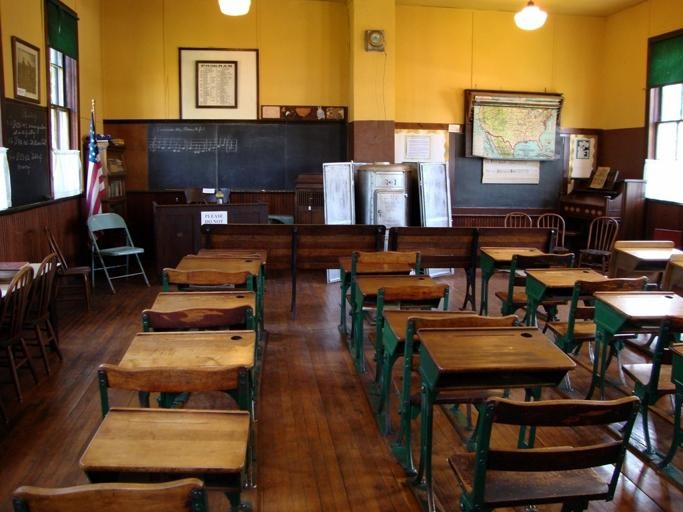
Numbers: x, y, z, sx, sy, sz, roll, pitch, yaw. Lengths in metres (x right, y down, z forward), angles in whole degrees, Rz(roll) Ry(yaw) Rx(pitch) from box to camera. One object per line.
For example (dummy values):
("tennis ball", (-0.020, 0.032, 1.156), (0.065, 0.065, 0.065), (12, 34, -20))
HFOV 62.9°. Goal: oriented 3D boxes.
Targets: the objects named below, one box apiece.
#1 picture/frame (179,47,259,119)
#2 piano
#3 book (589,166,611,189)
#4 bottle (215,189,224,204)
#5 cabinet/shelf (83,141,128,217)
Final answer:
("picture/frame", (-2.095, -2.952, 9.290), (1.169, 1.059, 0.093), (0, 5, -7))
("piano", (4.324, -0.831, 9.343), (0.814, 1.229, 1.443), (0, 4, -3))
("book", (4.356, -1.337, 9.392), (0.089, 0.387, 0.369), (20, 3, -15))
("bottle", (-1.900, -0.950, 8.705), (0.126, 0.208, 0.428), (-4, 14, -11))
("cabinet/shelf", (-3.474, -1.150, 8.158), (0.423, 1.384, 1.078), (-1, 11, -5))
